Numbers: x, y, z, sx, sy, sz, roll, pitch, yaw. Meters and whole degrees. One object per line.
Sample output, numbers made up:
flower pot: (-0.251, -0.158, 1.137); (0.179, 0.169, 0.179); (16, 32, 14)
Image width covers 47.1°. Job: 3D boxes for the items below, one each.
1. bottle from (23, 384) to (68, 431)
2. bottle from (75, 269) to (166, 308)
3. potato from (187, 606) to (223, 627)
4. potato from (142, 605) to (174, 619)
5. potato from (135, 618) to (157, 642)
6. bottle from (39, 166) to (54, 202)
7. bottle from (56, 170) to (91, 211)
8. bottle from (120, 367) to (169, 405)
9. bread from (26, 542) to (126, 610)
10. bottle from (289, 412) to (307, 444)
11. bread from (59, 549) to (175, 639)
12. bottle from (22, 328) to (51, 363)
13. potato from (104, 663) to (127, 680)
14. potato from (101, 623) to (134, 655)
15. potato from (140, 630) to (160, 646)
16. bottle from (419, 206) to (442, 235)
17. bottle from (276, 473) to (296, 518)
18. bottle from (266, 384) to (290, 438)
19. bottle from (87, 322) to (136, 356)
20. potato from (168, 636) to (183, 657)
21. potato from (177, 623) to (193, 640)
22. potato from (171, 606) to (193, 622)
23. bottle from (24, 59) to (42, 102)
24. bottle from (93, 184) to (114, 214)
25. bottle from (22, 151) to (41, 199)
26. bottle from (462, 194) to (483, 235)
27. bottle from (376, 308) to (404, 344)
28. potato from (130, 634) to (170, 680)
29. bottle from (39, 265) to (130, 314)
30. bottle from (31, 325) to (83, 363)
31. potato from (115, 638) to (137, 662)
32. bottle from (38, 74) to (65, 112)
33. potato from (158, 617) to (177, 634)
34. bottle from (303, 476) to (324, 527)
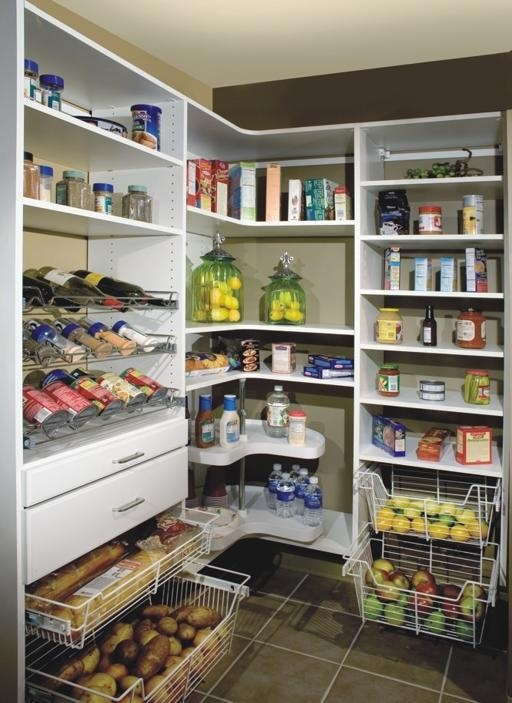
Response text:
bottle: (-0.499, 0.132, 1.381); (0.113, 0.090, 0.097); (5, 5, 25)
bottle: (-0.387, -0.181, 1.705); (0.245, 0.055, 0.053); (22, 34, 29)
potato: (-0.137, 0.692, 1.540); (0.071, 0.040, 0.042); (6, 3, -8)
potato: (-0.266, 0.698, 1.586); (0.046, 0.022, 0.034); (-1, 2, -23)
potato: (-0.281, 0.712, 1.497); (0.034, 0.021, 0.040); (-2, 21, 1)
bottle: (-0.487, -0.388, 1.358); (0.025, 0.087, 0.056); (2, 5, -8)
bottle: (-0.455, -0.407, 1.467); (0.082, 0.105, 0.121); (1, 5, -19)
bottle: (-0.324, 0.103, 1.711); (0.182, 0.072, 0.075); (27, 8, 34)
bread: (-0.420, 0.527, 1.418); (0.052, 0.044, 0.268); (14, 14, 23)
bottle: (0.162, 0.298, 2.338); (0.066, 0.127, 0.125); (3, 5, 2)
bread: (-0.319, 0.528, 1.403); (0.105, 0.089, 0.349); (6, 12, 28)
bottle: (-0.521, -0.014, 1.400); (0.041, 0.046, 0.161); (13, 13, -33)
potato: (-0.319, 0.738, 1.353); (0.027, 0.031, 0.027); (-2, -14, 22)
potato: (-0.351, 0.727, 1.483); (0.033, 0.032, 0.066); (8, 15, 22)
potato: (-0.263, 0.712, 1.468); (0.038, 0.034, 0.038); (0, 4, 8)
bottle: (0.654, -0.494, 2.212); (0.080, 0.126, 0.193); (4, 5, 14)
bottle: (0.126, 0.579, 2.369); (0.088, 0.174, 0.064); (2, 4, -14)
bottle: (0.090, 0.238, 2.456); (0.094, 0.220, 0.237); (3, 5, 1)
bottle: (-0.387, -0.033, 1.569); (0.041, 0.038, 0.146); (-25, 42, -36)
potato: (-0.196, 0.722, 1.434); (0.036, 0.034, 0.035); (1, 2, -25)
potato: (-0.176, 0.713, 1.491); (0.040, 0.021, 0.040); (2, 5, -6)
potato: (-0.194, 0.690, 1.544); (0.031, 0.014, 0.029); (-5, 11, 21)
bottle: (-0.492, -0.591, 1.296); (0.034, 0.106, 0.134); (1, 5, -20)
bottle: (-0.408, -0.404, 1.563); (0.048, 0.093, 0.163); (2, 5, -16)
bottle: (-0.497, -0.391, 1.304); (0.033, 0.111, 0.093); (1, 5, -19)
bottle: (0.770, -0.485, 2.091); (0.073, 0.151, 0.138); (4, 5, 19)
bottle: (0.506, -0.097, 2.239); (0.125, 0.164, 0.123); (1, -4, 0)
potato: (-0.244, 0.714, 1.372); (0.044, 0.046, 0.087); (8, 29, 24)
bottle: (-0.476, -0.169, 1.618); (0.289, 0.076, 0.077); (21, 32, 38)
bottle: (-0.488, -0.021, 1.433); (0.035, 0.035, 0.127); (-34, 45, -29)
potato: (-0.313, 0.721, 1.419); (0.038, 0.036, 0.045); (-5, 6, -1)
bottle: (-0.467, -0.590, 1.337); (0.050, 0.083, 0.059); (1, 5, -21)
potato: (-0.224, 0.700, 1.492); (0.030, 0.028, 0.031); (8, 26, 25)
bottle: (0.221, 0.584, 2.335); (0.062, 0.172, 0.172); (2, 5, -7)
